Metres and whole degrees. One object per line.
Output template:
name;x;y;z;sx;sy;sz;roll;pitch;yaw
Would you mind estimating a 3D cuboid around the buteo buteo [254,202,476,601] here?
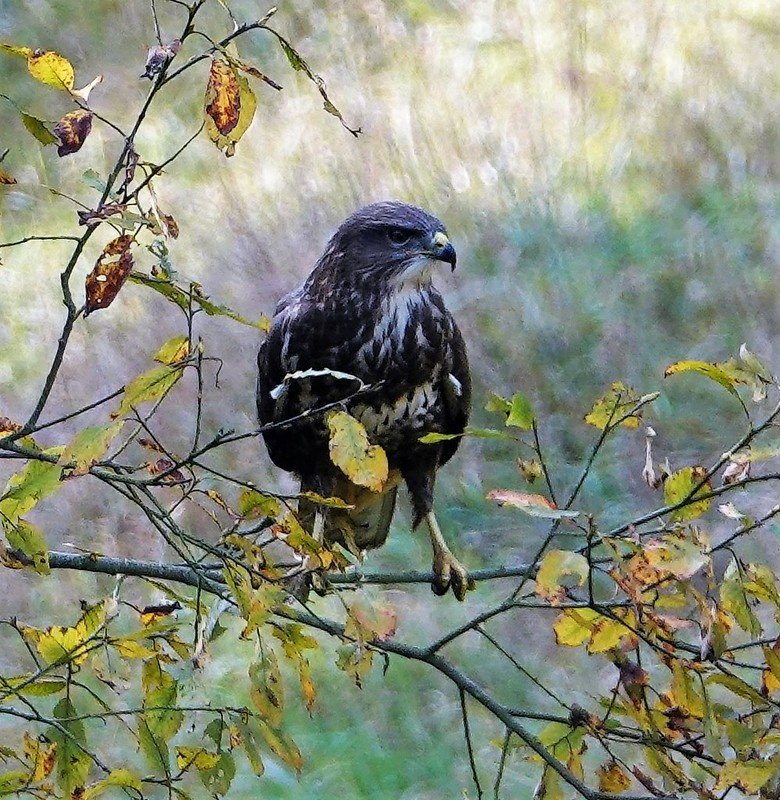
buteo buteo;-0.110;-0.013;5.763;0.631;1.420;1.239;-3;-83;-15
